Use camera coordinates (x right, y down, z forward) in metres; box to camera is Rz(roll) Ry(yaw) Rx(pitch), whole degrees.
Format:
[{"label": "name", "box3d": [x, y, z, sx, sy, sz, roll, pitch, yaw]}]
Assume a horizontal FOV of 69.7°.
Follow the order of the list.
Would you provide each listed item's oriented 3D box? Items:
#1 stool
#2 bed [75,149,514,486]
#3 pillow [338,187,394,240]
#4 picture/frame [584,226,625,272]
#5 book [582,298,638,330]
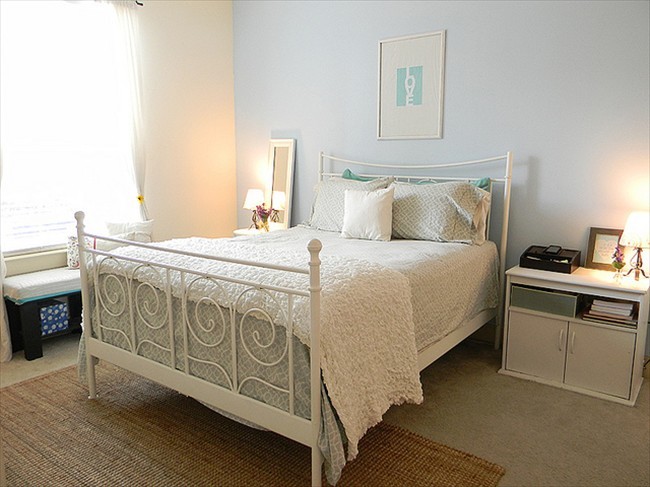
[{"label": "stool", "box3d": [-2.185, 0.450, 3.663, 0.554, 0.581, 0.651, 9, 13, 38]}, {"label": "bed", "box3d": [0.034, 0.279, 2.799, 1.504, 1.165, 1.764, 8, 14, 36]}, {"label": "pillow", "box3d": [0.325, -0.222, 3.487, 0.358, 0.390, 0.137, 3, -11, 31]}, {"label": "picture/frame", "box3d": [1.898, 0.037, 3.155, 0.243, 0.343, 0.021, 10, 5, 43]}, {"label": "book", "box3d": [1.785, 0.404, 2.922, 0.284, 0.132, 0.220, 10, 17, 31]}]
